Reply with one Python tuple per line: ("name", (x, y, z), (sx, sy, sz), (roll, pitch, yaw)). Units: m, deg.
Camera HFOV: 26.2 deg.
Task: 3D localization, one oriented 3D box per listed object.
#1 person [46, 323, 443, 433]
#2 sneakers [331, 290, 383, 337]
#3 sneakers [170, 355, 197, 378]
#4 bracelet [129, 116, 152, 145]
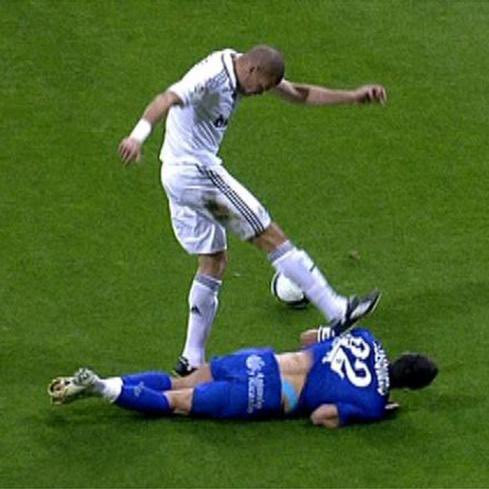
("person", (0.059, 0.712, 5.981), (1.762, 0.499, 0.871), (0, 29, -6))
("sneakers", (0.669, 0.412, 6.332), (0.379, 0.158, 0.165), (-50, 30, -15))
("sneakers", (-0.387, 0.767, 6.548), (0.135, 0.114, 0.117), (32, -12, -37))
("bracelet", (-0.586, -0.636, 5.968), (0.088, 0.052, 0.162), (32, 55, 4))
